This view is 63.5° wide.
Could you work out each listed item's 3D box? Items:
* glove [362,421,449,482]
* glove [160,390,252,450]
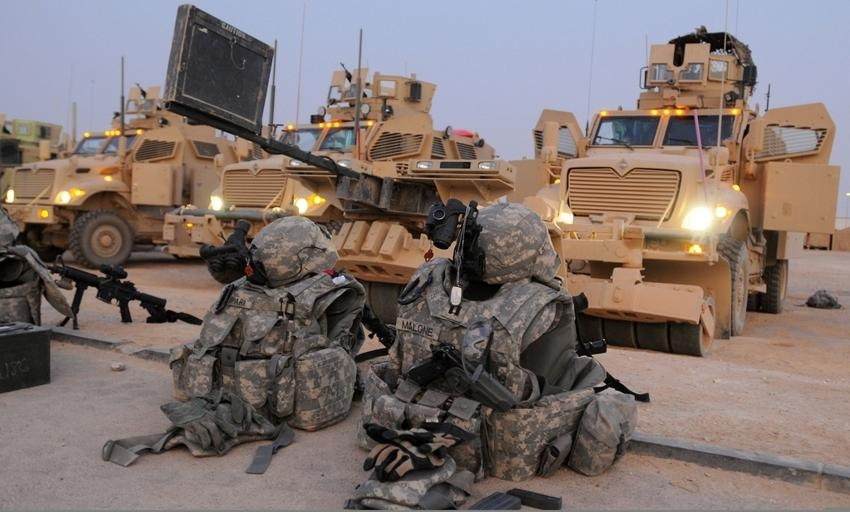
[{"bbox_3d":[-0.214,1.980,6.934,0.820,0.444,0.392,3,5,-3],"label":"glove"},{"bbox_3d":[-2.365,1.841,7.628,0.681,0.287,0.689,6,5,30],"label":"glove"}]
